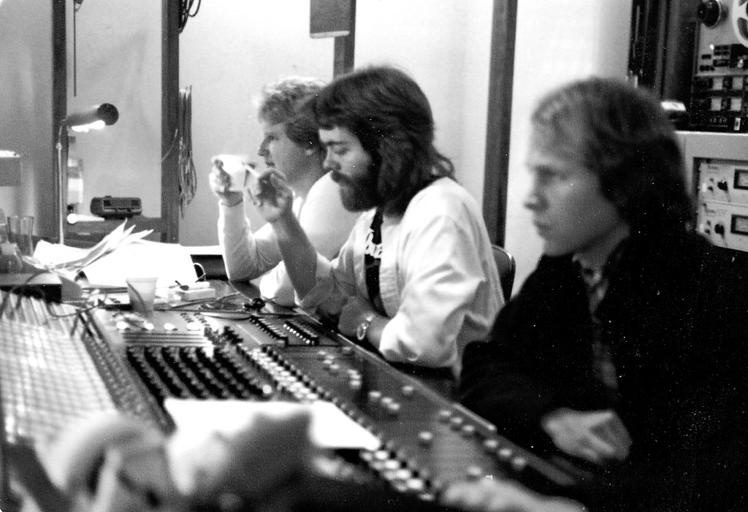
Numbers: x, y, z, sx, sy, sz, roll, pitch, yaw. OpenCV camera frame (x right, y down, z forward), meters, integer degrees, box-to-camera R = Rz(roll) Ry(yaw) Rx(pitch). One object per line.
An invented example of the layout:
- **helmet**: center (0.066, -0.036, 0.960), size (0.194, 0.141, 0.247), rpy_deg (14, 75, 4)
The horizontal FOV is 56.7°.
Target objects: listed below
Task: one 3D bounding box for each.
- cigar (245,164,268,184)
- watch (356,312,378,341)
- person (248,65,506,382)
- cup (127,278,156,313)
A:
- **cigar**: center (-0.269, -0.183, 1.602), size (0.050, 0.049, 0.036), rpy_deg (5, -6, -42)
- **watch**: center (-0.016, 0.157, 1.528), size (0.011, 0.048, 0.034), rpy_deg (33, 0, -33)
- **person**: center (0.042, -0.085, 1.865), size (0.582, 1.022, 0.565), rpy_deg (-10, 3, -15)
- **cup**: center (-0.586, 0.099, 1.757), size (0.082, 0.085, 0.081), rpy_deg (1, -6, 0)
